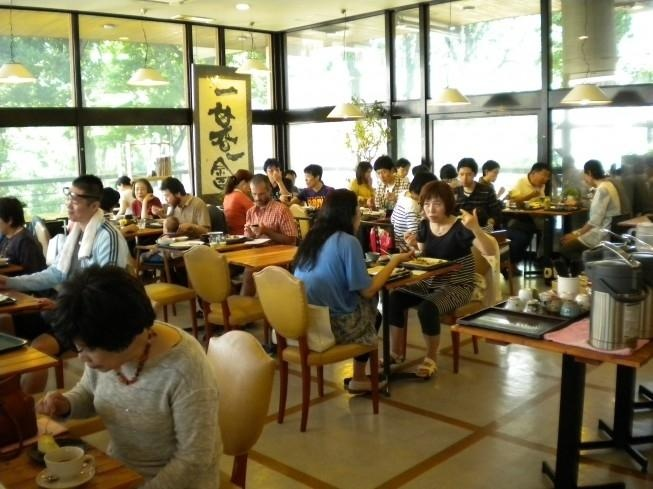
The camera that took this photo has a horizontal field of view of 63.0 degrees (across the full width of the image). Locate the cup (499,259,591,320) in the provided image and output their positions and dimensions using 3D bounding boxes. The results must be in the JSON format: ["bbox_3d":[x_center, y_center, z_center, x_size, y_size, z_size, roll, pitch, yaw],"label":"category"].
[{"bbox_3d":[1.138,0.254,2.781,0.407,0.152,0.352,3,13,25],"label":"cup"}]

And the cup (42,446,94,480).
[{"bbox_3d":[-0.769,0.638,1.581,0.096,0.057,0.076,5,-7,-41],"label":"cup"}]

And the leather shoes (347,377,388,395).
[{"bbox_3d":[0.272,0.964,3.716,0.277,0.109,0.110,-5,0,-7],"label":"leather shoes"}]

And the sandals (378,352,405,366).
[{"bbox_3d":[0.512,0.868,4.078,0.243,0.094,0.084,1,0,-19],"label":"sandals"}]

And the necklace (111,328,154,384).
[{"bbox_3d":[-0.595,0.356,1.725,0.047,0.173,0.127,24,-4,-3],"label":"necklace"}]

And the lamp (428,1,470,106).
[{"bbox_3d":[1.719,-2.752,7.488,0.472,1.524,1.241,0,12,12],"label":"lamp"}]
